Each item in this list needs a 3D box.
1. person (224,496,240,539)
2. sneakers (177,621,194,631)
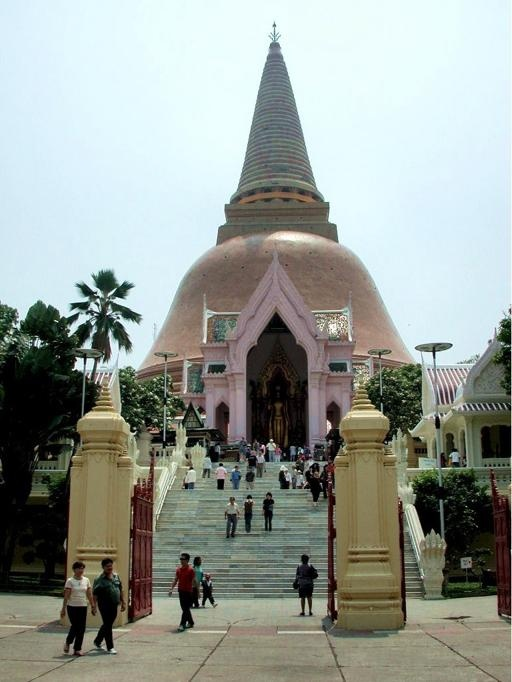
[{"bbox_3d":[-0.659,4.661,16.807,0.315,1.114,0.707,-1,5,-4],"label":"person"},{"bbox_3d":[-0.895,3.665,8.101,0.087,0.111,0.266,-18,-35,16],"label":"sneakers"}]
